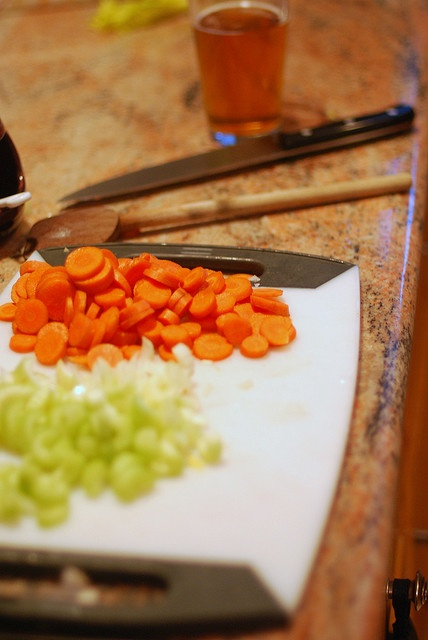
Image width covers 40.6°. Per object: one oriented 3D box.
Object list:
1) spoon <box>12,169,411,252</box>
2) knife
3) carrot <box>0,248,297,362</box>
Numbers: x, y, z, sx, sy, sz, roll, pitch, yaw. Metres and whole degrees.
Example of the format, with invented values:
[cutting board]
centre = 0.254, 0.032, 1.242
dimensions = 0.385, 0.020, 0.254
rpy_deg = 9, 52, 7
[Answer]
[spoon]
centre = 0.010, -0.205, 1.110
dimensions = 0.668, 0.030, 0.115
rpy_deg = -10, 31, 2
[knife]
centre = 0.061, -0.364, 1.285
dimensions = 0.843, 0.080, 0.109
rpy_deg = -13, 33, -2
[carrot]
centre = -0.096, -0.011, 0.816
dimensions = 0.362, 0.053, 0.178
rpy_deg = 5, 44, -3
